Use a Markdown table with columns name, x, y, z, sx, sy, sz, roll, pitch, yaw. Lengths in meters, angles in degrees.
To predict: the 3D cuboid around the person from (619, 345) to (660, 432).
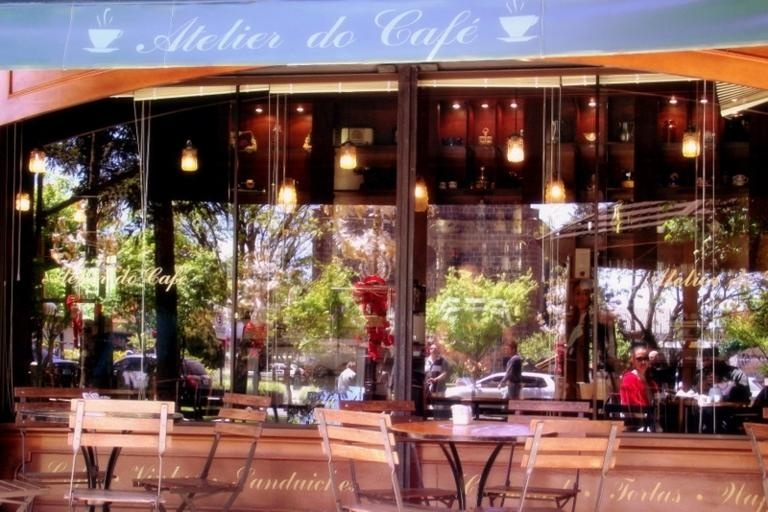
| name | x | y | z | sx | sy | sz | roll | pitch | yaw |
| --- | --- | --- | --- | --- | --- | --- | --- | --- | --- |
| person | 3.073 | 1.572 | 11.695 | 0.424 | 0.991 | 0.996 | -1 | -2 | 15 |

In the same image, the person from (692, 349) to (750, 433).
| name | x | y | z | sx | sy | sz | roll | pitch | yaw |
| --- | --- | --- | --- | --- | --- | --- | --- | --- | --- |
| person | 4.116 | 1.708 | 11.798 | 0.583 | 0.853 | 0.291 | -6 | -21 | 19 |
